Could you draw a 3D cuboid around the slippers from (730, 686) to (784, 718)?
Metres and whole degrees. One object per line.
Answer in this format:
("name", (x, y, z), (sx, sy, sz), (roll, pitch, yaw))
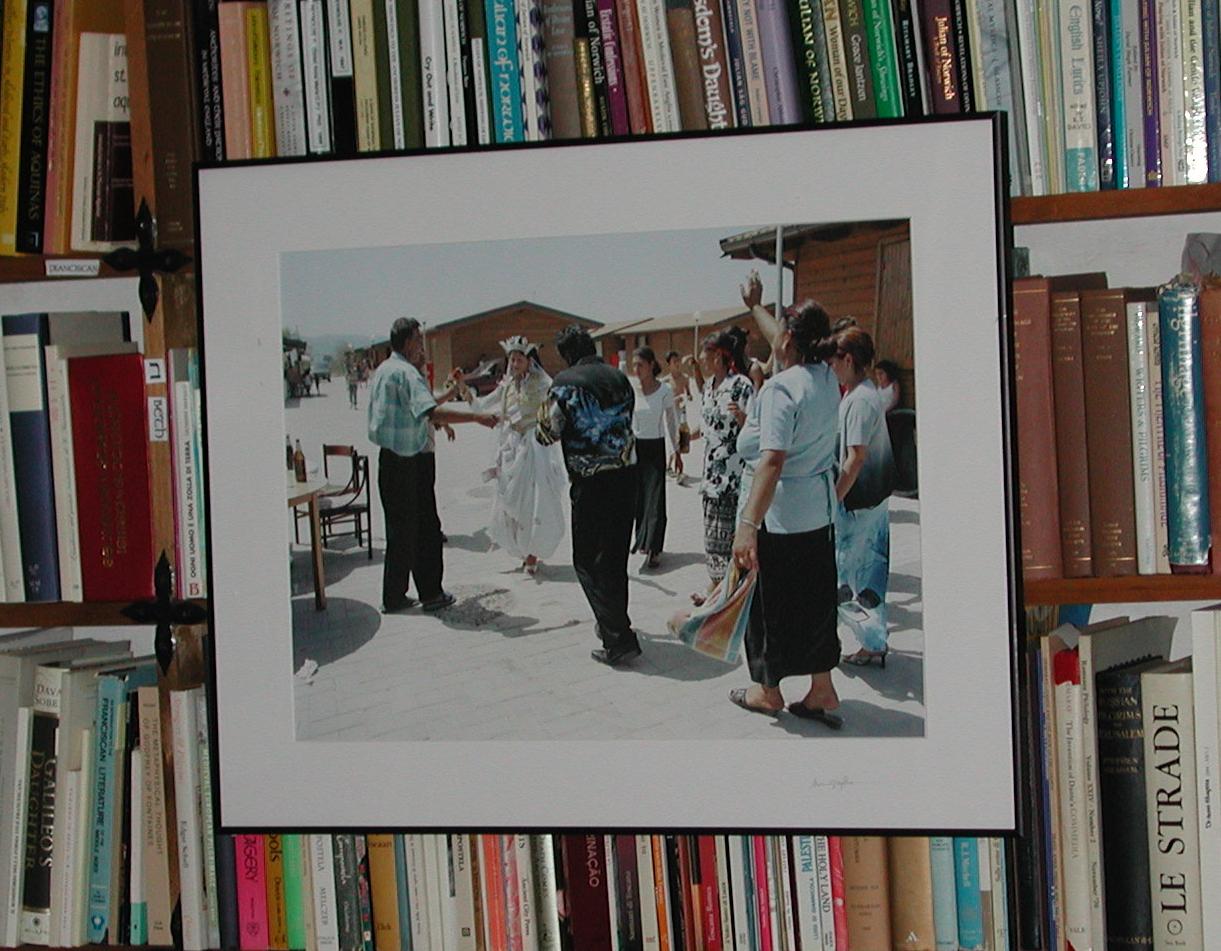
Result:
("slippers", (0.238, 0.361, 2.495), (0.082, 0.041, 0.038), (14, 9, 9))

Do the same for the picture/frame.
("picture/frame", (0.047, -0.011, 2.486), (0.920, 0.925, 0.015), (-1, 4, 12))

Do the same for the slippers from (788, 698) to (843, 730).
("slippers", (0.331, 0.388, 2.465), (0.094, 0.041, 0.035), (20, 11, 12))

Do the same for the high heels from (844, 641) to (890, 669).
("high heels", (0.413, 0.292, 2.463), (0.071, 0.039, 0.027), (6, 0, 13))
